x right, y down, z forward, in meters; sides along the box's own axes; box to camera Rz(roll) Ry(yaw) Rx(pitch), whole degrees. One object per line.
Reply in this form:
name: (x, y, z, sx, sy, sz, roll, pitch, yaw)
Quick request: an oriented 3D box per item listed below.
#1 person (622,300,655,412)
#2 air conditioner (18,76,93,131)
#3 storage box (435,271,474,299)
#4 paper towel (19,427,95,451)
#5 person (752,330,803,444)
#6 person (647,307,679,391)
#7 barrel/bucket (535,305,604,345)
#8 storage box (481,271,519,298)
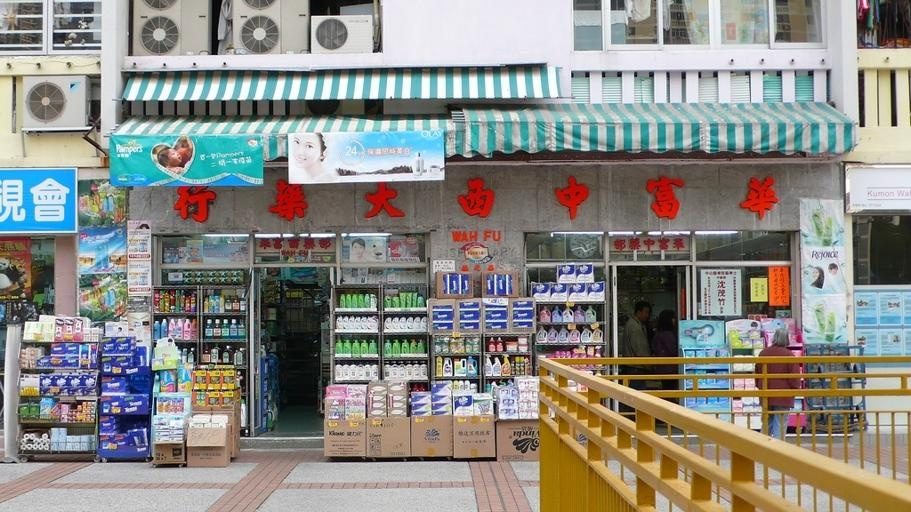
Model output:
person: (4.084, 2.140, 33.825, 0.810, 2.381, 0.815, 4, -1, -8)
air conditioner: (-8.524, -3.282, 33.833, 1.098, 1.325, 0.910, 1, 0, 0)
storage box: (-0.021, 0.446, 32.967, 0.977, 0.562, 0.512, 1, 0, -1)
paper towel: (-8.157, 3.746, 31.913, 1.523, 0.460, 0.627, 1, 6, -7)
person: (6.591, 2.506, 31.524, 1.178, 2.831, 0.939, 1, 0, -9)
person: (4.573, 1.988, 33.774, 0.575, 1.690, 0.623, 5, 1, 29)
barrel/bucket: (2.420, 1.408, 33.224, 1.361, 0.852, 0.477, -1, -1, -3)
storage box: (0.994, 0.595, 32.888, 1.002, 0.615, 0.499, 0, -11, -1)
